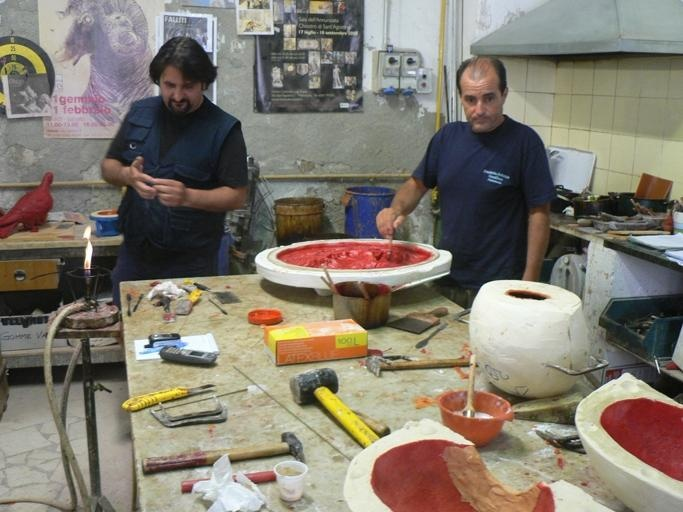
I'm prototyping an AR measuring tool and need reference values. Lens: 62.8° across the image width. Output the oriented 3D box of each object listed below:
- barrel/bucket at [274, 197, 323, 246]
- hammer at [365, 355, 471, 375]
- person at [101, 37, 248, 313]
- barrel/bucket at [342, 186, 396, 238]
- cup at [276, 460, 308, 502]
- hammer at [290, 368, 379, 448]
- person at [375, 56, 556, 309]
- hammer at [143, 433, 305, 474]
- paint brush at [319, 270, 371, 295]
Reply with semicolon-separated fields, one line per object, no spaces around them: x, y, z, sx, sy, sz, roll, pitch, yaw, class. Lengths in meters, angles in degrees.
-0.380;-0.320;5.090;0.481;0.398;0.436;-2;8;-13;barrel/bucket
0.291;0.403;2.084;0.240;0.031;0.129;-1;-2;-4;hammer
-0.994;-0.434;3.347;0.621;1.623;0.739;-11;20;-41;person
0.227;-0.452;5.261;0.558;0.462;0.476;0;18;1;barrel/bucket
-0.137;0.599;1.493;0.093;0.062;0.091;-1;6;0;cup
-0.031;0.473;1.782;0.118;0.104;0.454;-15;26;-24;hammer
0.751;-0.392;3.162;0.847;1.376;0.349;10;17;27;person
-0.350;0.528;1.599;0.409;0.043;0.148;-1;13;-14;hammer
0.014;0.113;2.447;0.186;0.157;0.101;0;27;9;paint brush
